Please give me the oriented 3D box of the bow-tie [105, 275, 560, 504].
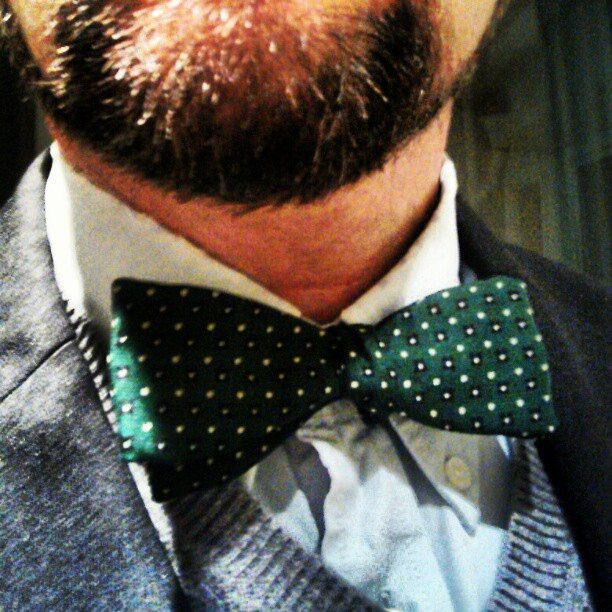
[{"bbox_3d":[0.032,0.043,0.626,0.327,0.177,0.069,-4,51,-3],"label":"bow-tie"}]
